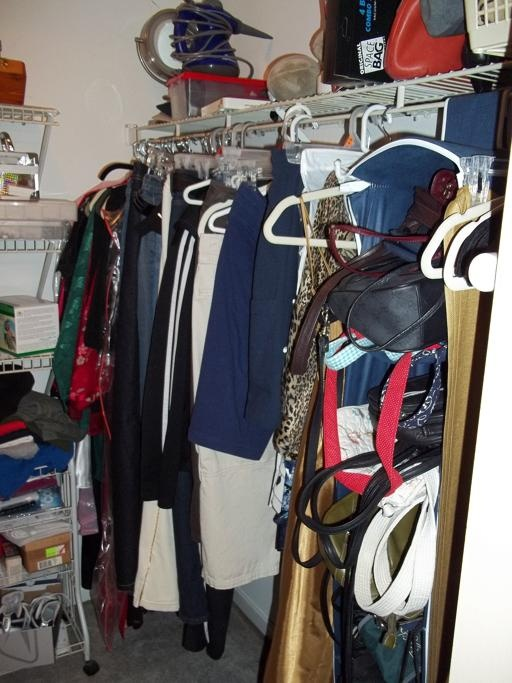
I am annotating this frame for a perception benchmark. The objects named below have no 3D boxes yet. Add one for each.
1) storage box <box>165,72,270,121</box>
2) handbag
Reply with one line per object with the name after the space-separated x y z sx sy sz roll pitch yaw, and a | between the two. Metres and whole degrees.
-0.122 -0.773 1.631 0.270 0.128 0.181 -15 29 -31 | storage box
0.182 0.165 0.810 0.182 0.804 0.287 2 12 19 | handbag
